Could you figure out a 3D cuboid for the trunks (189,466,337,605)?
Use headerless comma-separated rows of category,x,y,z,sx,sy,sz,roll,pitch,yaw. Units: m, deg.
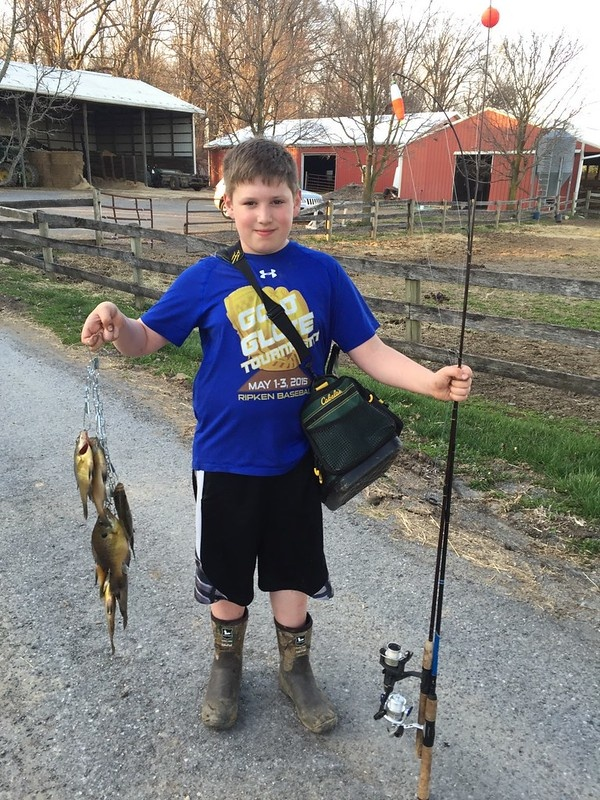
trunks,-0.117,0.387,1.880,0.459,0.545,0.231,6,30,8

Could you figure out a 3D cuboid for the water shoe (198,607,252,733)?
water shoe,-0.243,0.864,1.987,0.118,0.285,0.308,3,3,1

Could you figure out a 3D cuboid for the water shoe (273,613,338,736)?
water shoe,0.015,0.881,1.995,0.120,0.288,0.308,-6,12,-24

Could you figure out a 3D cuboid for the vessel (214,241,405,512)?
vessel,0.026,-0.061,1.658,0.489,0.677,0.208,8,16,22

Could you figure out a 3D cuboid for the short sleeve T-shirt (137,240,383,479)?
short sleeve T-shirt,-0.085,-0.136,1.747,0.676,0.632,0.266,0,16,-9

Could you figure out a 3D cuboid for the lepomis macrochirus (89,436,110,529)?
lepomis macrochirus,-0.513,0.211,1.575,0.089,0.219,0.039,-3,-3,34

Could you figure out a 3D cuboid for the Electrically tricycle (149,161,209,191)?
Electrically tricycle,-6.567,-11.754,32.752,2.406,0.750,1.662,-1,30,-15
